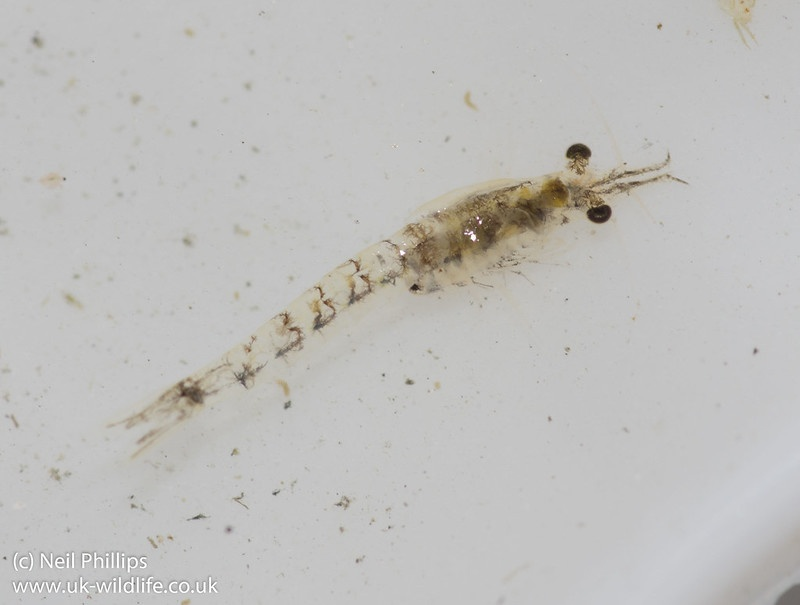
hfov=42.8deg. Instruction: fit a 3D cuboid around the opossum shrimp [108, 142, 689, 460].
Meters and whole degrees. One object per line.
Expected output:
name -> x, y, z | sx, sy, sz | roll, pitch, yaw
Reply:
opossum shrimp -> 0.086, -0.204, 7.292 | 4.667, 0.562, 0.826 | -25, -27, -18
